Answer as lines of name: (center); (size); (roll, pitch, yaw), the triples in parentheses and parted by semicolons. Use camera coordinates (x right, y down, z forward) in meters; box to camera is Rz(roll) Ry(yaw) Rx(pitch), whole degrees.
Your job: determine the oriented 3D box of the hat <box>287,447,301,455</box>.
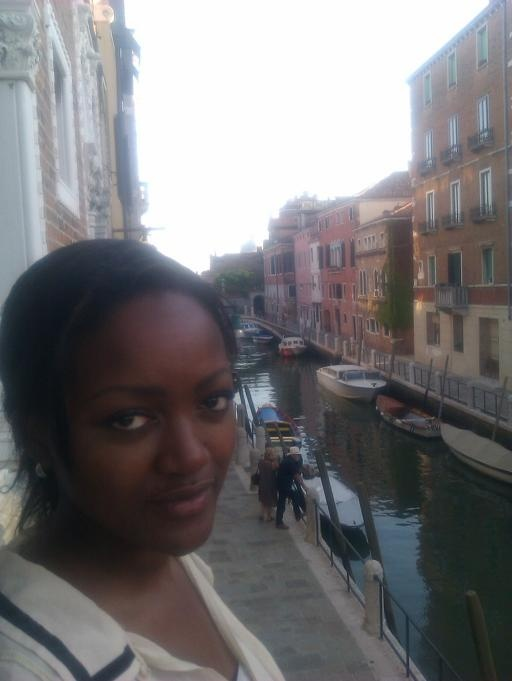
hat: (0.836, 2.571, 13.432); (0.284, 0.162, 0.296); (1, -2, -30)
